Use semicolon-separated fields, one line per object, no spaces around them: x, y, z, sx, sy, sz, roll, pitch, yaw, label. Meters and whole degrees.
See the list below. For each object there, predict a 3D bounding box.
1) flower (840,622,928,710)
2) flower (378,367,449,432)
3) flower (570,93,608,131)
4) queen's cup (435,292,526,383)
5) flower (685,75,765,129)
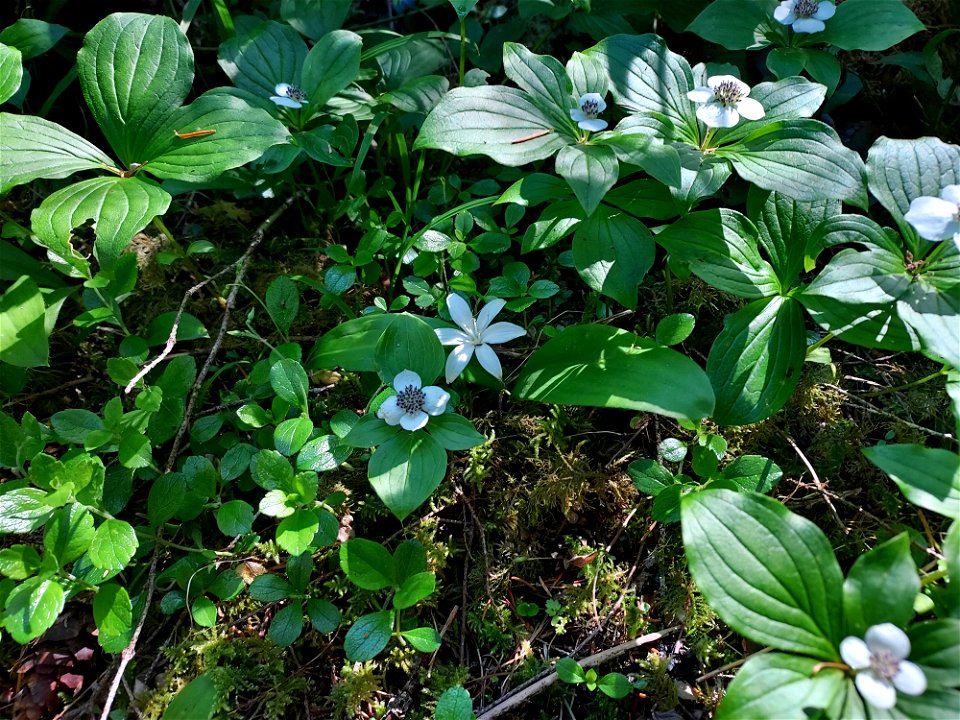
1.371;1.021;2.527;0.258;0.166;0.219;-11;50;-12;flower
-0.285;0.178;3.260;0.244;0.106;0.257;20;52;14;flower
0.483;-1.083;3.355;0.148;0.100;0.187;8;80;-5;flower
-0.023;-0.104;3.483;0.347;0.154;0.454;6;85;14;queen's cup
1.103;-1.190;3.352;0.302;0.101;0.280;14;19;39;flower
